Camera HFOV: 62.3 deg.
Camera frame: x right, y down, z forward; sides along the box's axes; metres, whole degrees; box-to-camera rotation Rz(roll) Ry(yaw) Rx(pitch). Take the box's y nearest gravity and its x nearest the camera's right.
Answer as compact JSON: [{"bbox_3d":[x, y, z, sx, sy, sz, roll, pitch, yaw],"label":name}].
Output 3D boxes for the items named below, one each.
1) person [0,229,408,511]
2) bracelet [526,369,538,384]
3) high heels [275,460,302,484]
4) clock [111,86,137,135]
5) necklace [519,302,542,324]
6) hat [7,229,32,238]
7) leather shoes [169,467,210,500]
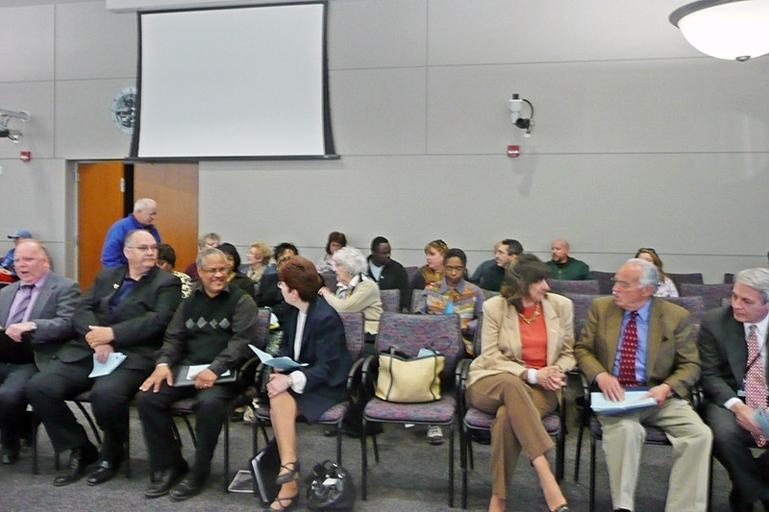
[{"bbox_3d":[-1.164,1.215,5.358,2.661,1.450,1.036,0,2,0],"label":"person"},{"bbox_3d":[1.154,0.942,4.983,0.084,0.113,0.045,1,2,19],"label":"bracelet"},{"bbox_3d":[-0.720,1.643,4.823,0.111,0.101,0.185,-10,-16,22],"label":"high heels"},{"bbox_3d":[-3.894,-2.192,9.588,0.596,0.613,0.182,9,10,3],"label":"clock"},{"bbox_3d":[1.180,0.468,5.136,0.131,0.160,0.073,-3,-35,24],"label":"necklace"},{"bbox_3d":[-5.441,-0.320,9.524,0.313,0.116,0.200,2,-3,-21],"label":"hat"},{"bbox_3d":[-1.540,1.810,5.070,0.139,0.142,0.369,0,-4,14],"label":"leather shoes"}]
